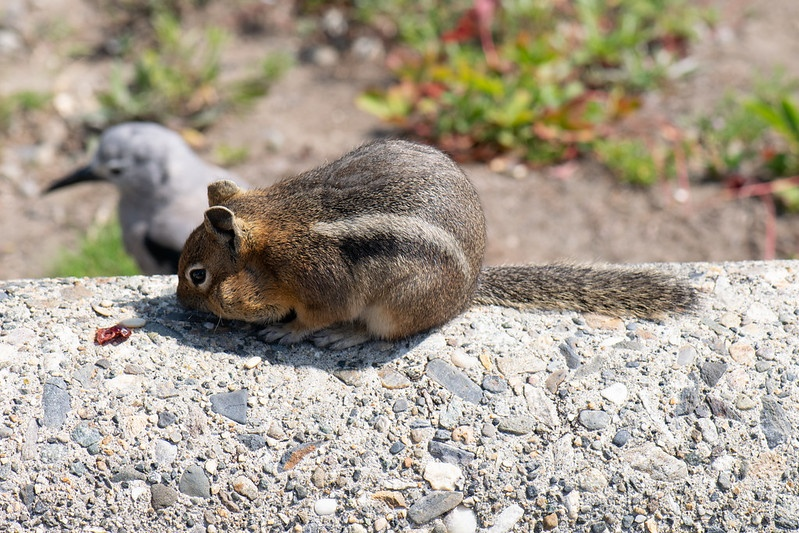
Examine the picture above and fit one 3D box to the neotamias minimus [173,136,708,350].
[{"bbox_3d":[-0.268,-0.169,5.743,4.252,1.544,1.317,-2,27,-9],"label":"neotamias minimus"}]
